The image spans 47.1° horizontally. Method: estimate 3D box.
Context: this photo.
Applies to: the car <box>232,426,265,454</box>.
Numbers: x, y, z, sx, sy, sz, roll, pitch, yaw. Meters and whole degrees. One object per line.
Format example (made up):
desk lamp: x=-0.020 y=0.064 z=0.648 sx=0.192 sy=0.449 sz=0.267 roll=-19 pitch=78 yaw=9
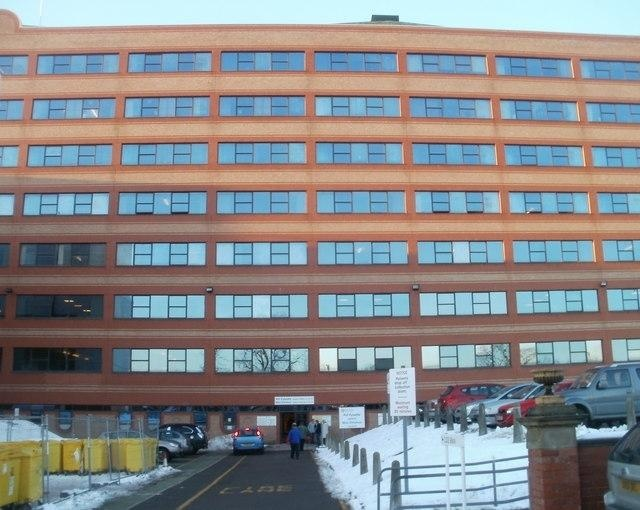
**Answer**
car: x=-4.179 y=10.874 z=42.518 sx=1.572 sy=0.750 sz=2.036 roll=1 pitch=-7 yaw=-3
